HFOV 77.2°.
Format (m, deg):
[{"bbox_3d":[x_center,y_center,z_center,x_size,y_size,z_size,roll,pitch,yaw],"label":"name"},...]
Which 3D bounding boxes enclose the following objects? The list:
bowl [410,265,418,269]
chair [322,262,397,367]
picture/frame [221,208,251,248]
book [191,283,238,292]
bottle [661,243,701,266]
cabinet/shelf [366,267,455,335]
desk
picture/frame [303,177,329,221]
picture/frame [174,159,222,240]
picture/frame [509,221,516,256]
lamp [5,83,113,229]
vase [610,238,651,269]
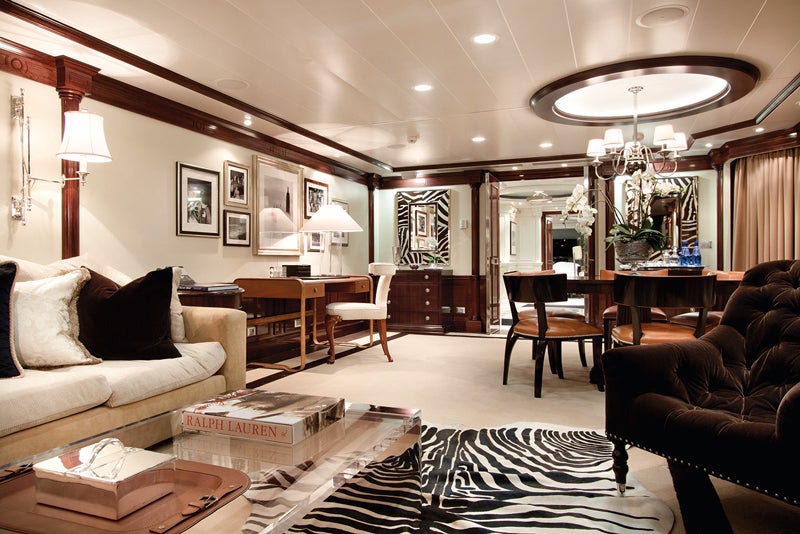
[{"bbox_3d":[0.219,0.005,8.210,0.118,0.071,0.061,1,11,9],"label":"bowl"},{"bbox_3d":[-0.463,0.544,6.288,1.110,1.302,0.990,3,-4,-8],"label":"chair"},{"bbox_3d":[-1.827,-0.433,5.533,0.039,0.509,0.476,-2,-3,27],"label":"picture/frame"},{"bbox_3d":[-1.671,0.197,4.603,0.324,0.059,0.407,0,2,31],"label":"book"},{"bbox_3d":[3.013,-0.133,5.436,0.334,0.191,0.325,-1,5,0],"label":"bottle"},{"bbox_3d":[0.351,0.559,8.166,1.637,1.438,0.931,-1,-4,19],"label":"cabinet/shelf"},{"bbox_3d":[-1.160,0.515,5.812,0.981,0.903,1.764,-2,-3,21],"label":"desk"},{"bbox_3d":[-1.139,-0.903,6.652,0.050,0.588,0.755,2,2,23],"label":"picture/frame"},{"bbox_3d":[-2.070,-0.679,5.133,0.092,0.715,0.520,0,2,23],"label":"picture/frame"},{"bbox_3d":[2.824,-0.732,12.784,0.044,1.047,0.962,-1,1,22],"label":"picture/frame"},{"bbox_3d":[-2.531,-0.855,3.820,0.696,1.041,0.473,0,3,29],"label":"lamp"},{"bbox_3d":[1.967,-0.119,4.316,0.266,0.200,0.265,0,-2,3],"label":"vase"}]
